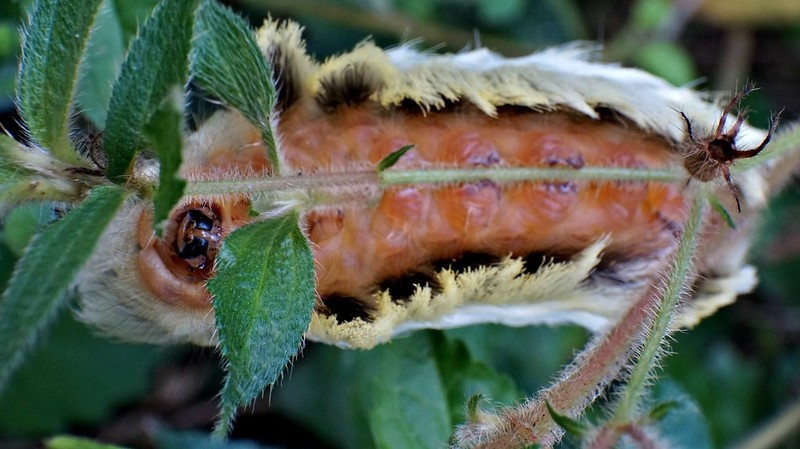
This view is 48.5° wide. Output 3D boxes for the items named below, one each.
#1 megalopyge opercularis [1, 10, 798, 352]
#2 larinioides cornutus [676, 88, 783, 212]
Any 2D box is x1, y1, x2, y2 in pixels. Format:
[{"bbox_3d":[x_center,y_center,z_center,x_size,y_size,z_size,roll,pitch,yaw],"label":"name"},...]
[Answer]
[{"bbox_3d":[-0.093,-0.092,4.444,2.874,1.936,1.389,0,93,-5],"label":"megalopyge opercularis"},{"bbox_3d":[1.128,-0.311,3.134,0.325,0.235,0.411,21,82,5],"label":"larinioides cornutus"}]
